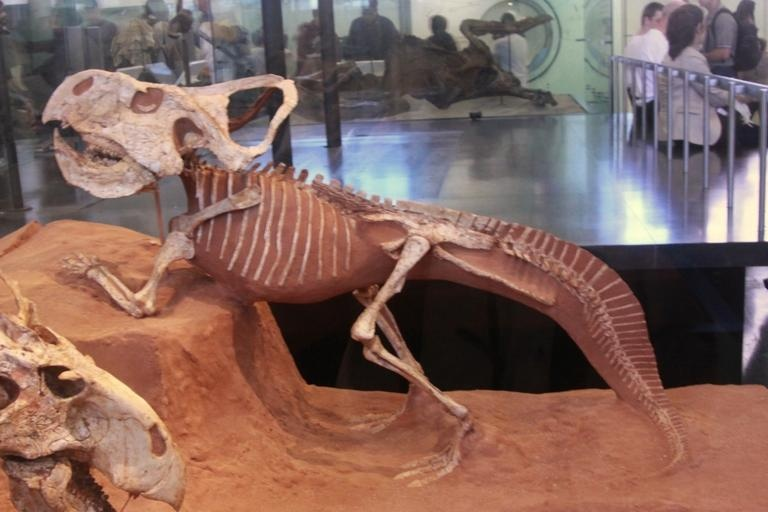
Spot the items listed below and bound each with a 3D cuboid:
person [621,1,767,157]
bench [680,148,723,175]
[{"bbox_3d":[3.416,-1.915,8.191,1.178,1.535,1.765,-1,14,9],"label":"person"},{"bbox_3d":[3.042,-0.907,7.411,0.369,0.078,0.345,-29,32,-13],"label":"bench"}]
